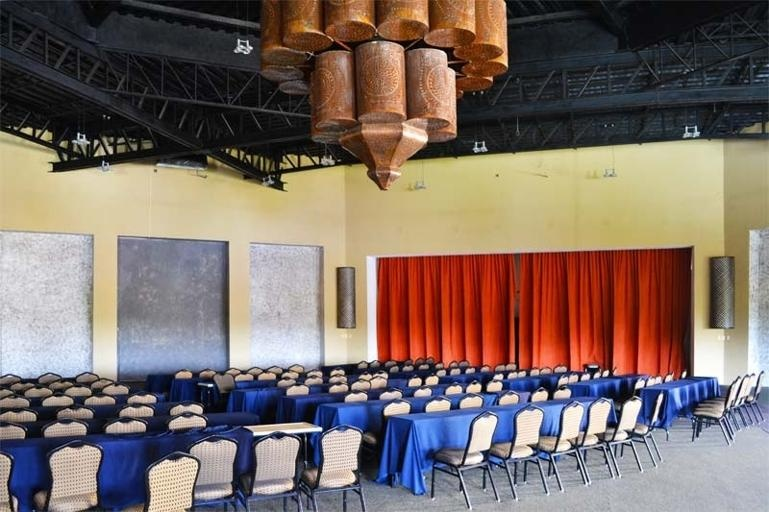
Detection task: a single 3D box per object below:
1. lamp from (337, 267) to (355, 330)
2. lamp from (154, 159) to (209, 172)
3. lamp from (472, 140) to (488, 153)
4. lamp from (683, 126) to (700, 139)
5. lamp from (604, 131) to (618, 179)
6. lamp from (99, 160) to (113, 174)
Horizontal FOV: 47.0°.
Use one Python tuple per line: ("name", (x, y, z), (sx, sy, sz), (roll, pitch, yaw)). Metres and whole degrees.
("lamp", (-0.996, 1.119, 23.788), (0.551, 1.591, 0.321), (-1, -1, -5))
("lamp", (-4.911, -2.150, 21.378), (1.172, 0.230, 1.005), (-1, -2, -15))
("lamp", (2.300, -2.581, 20.905), (0.452, 0.338, 0.455), (0, -2, 4))
("lamp", (6.903, -2.715, 19.699), (0.302, 0.157, 0.437), (0, 4, 29))
("lamp", (5.505, -2.246, 21.437), (0.285, 0.751, 0.088), (-1, -1, 13))
("lamp", (-6.340, -2.006, 20.118), (0.276, 0.384, 0.278), (-1, 1, 43))
